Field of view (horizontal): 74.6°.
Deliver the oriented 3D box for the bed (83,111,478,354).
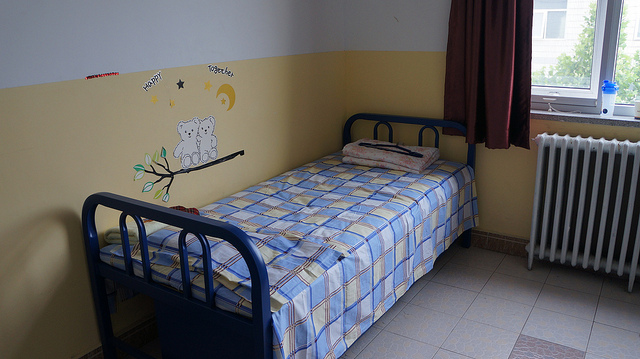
[{"bbox_3d":[0.070,0.282,3.561,1.780,1.222,2.947,14,27,32],"label":"bed"}]
